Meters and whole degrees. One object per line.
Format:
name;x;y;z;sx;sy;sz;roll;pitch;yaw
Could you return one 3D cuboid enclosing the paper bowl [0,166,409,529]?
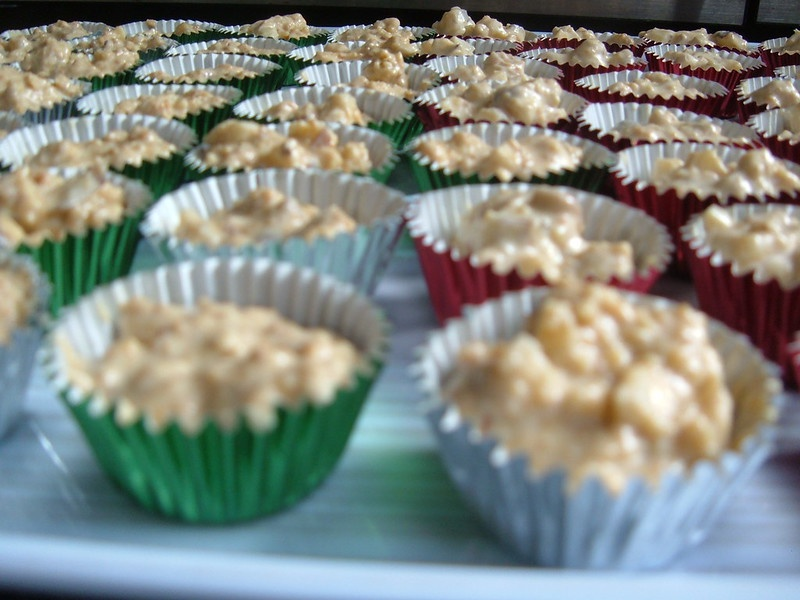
paper bowl;-0.326;0.078;1.342;0.541;0.235;0.546;4;34;-3
